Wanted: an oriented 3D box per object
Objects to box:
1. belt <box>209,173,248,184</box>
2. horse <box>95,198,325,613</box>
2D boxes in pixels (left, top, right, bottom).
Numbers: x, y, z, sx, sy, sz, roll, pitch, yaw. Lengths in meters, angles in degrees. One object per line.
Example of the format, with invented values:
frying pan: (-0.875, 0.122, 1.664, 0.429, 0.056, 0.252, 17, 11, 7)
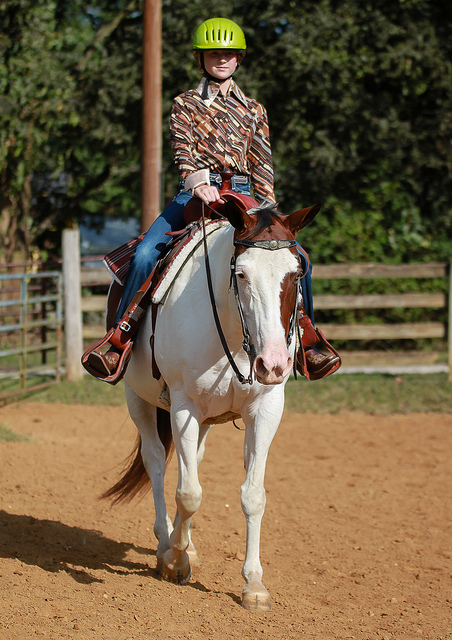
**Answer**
belt: (0.006, -0.838, 4.825, 0.140, 0.027, 0.128, 2, 3, 10)
horse: (-0.114, 0.475, 4.732, 0.874, 2.353, 2.085, 7, 6, -10)
